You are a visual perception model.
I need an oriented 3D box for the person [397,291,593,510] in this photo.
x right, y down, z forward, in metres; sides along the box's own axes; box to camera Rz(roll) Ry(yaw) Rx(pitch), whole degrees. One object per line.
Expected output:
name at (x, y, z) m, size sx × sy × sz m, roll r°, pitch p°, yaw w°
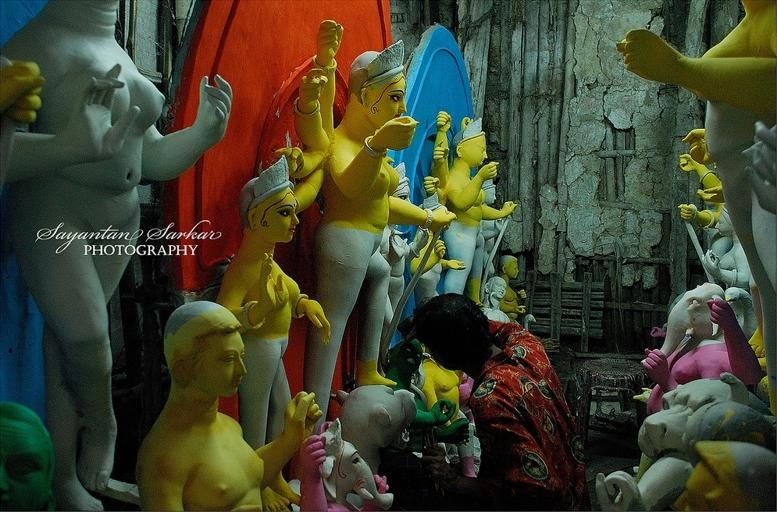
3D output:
person at (0.573, 0.849, 5.135) m, size 0.766 × 1.528 × 0.929 m, roll -9°, pitch 16°, yaw 32°

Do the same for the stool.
stool at (1.878, 1.273, 7.693) m, size 0.714 × 1.048 × 0.793 m, roll -2°, pitch -5°, yaw 13°
